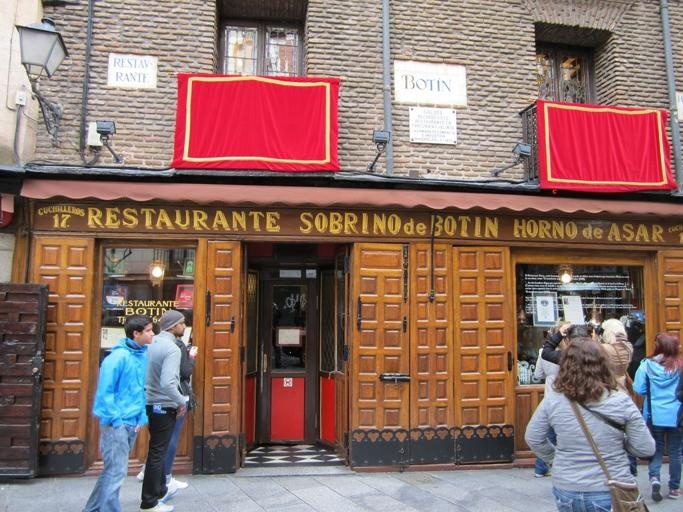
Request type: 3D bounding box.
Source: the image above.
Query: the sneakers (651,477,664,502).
[{"bbox_3d":[4.657,3.440,11.431,0.131,0.371,0.156,-7,-3,28],"label":"sneakers"}]

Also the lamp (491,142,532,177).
[{"bbox_3d":[2.964,-1.641,13.402,0.636,0.586,0.901,1,8,3],"label":"lamp"}]

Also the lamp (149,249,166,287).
[{"bbox_3d":[-3.015,0.198,12.760,0.256,0.590,0.131,1,7,-1],"label":"lamp"}]

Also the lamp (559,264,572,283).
[{"bbox_3d":[3.932,0.333,13.723,0.266,0.376,0.298,1,-12,8],"label":"lamp"}]

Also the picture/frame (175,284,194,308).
[{"bbox_3d":[-2.544,0.664,12.692,0.355,0.418,0.058,-1,-8,3],"label":"picture/frame"}]

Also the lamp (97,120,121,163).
[{"bbox_3d":[-3.766,-1.863,12.657,0.410,0.694,0.657,-1,8,-17],"label":"lamp"}]

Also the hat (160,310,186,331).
[{"bbox_3d":[-2.456,0.926,11.276,0.285,0.236,0.275,-3,4,-18],"label":"hat"}]

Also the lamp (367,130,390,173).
[{"bbox_3d":[0.635,-1.765,13.088,0.359,0.692,0.643,1,7,3],"label":"lamp"}]

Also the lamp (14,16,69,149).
[{"bbox_3d":[-4.710,-2.787,12.311,0.713,1.989,0.890,-1,7,-18],"label":"lamp"}]
